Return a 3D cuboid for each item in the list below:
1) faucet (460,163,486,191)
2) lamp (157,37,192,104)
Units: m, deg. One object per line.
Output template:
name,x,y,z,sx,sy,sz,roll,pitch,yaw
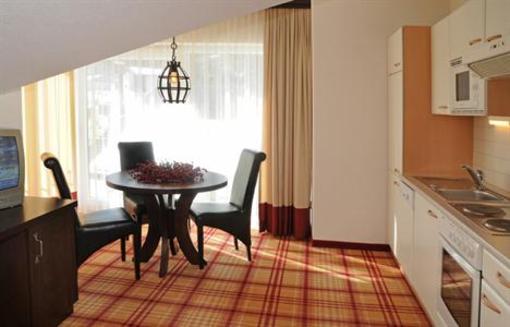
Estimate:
faucet,2.047,0.109,3.455,0.204,0.219,0.309,10,18,33
lamp,-0.982,-1.130,4.517,0.404,0.847,1.277,-3,15,-13
